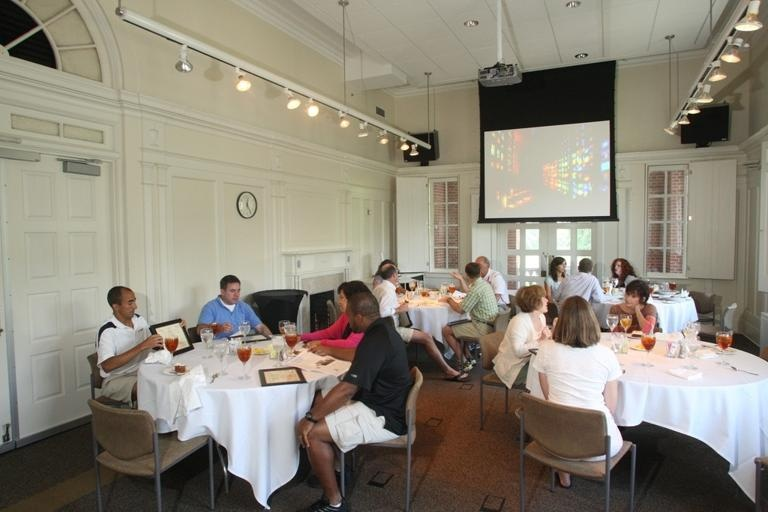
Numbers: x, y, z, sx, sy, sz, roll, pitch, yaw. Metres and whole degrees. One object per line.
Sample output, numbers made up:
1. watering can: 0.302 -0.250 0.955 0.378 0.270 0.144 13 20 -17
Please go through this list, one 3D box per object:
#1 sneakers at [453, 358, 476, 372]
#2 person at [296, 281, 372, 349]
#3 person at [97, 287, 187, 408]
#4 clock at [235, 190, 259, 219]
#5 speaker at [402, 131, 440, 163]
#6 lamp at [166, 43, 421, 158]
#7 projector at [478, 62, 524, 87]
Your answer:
1. sneakers: 1.130 1.517 7.176 0.119 0.136 0.351 -37 -23 14
2. person: -0.512 0.623 5.579 0.711 0.830 0.635 4 -4 -2
3. person: -2.539 1.102 5.473 0.818 1.482 0.677 -3 6 -7
4. clock: -2.016 -0.755 7.559 0.055 0.432 0.430 -1 -4 28
5. speaker: 0.774 -2.221 10.511 0.764 0.796 0.256 4 8 30
6. lamp: -1.068 -2.232 7.610 1.174 0.978 4.689 -1 2 31
7. projector: 1.526 -2.422 6.810 0.484 0.321 0.517 -1 2 19
